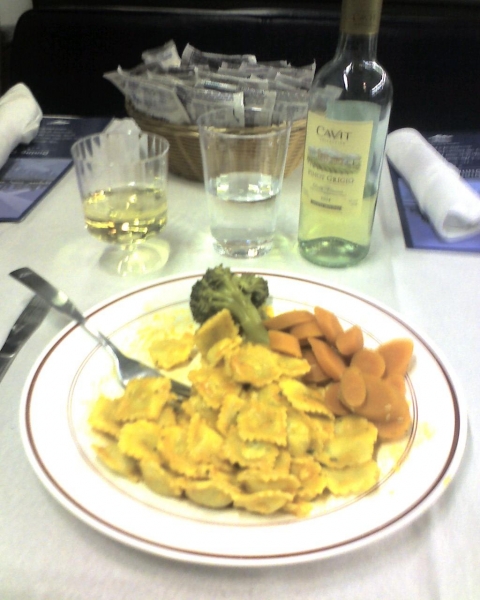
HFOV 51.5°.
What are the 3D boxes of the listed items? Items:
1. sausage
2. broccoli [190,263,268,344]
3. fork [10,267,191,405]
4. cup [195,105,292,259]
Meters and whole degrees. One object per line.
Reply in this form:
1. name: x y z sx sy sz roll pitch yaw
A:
1. sausage: 0.149 0.086 0.664 0.155 0.050 0.167 7 43 27
2. broccoli: -0.019 -0.004 0.793 0.095 0.068 0.121 -16 38 -30
3. fork: -0.207 0.058 0.735 0.283 0.032 0.044 35 44 20
4. cup: 0.006 -0.234 0.984 0.187 0.262 0.187 1 42 -1
